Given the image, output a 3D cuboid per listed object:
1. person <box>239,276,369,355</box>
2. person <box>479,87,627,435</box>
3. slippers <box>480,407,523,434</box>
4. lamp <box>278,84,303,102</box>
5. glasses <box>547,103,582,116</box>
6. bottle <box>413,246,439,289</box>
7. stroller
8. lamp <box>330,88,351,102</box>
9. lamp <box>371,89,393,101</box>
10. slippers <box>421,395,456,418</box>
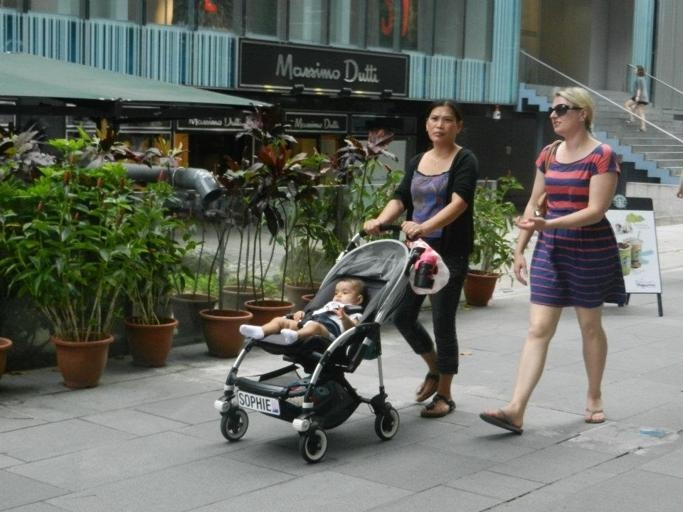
[{"bbox_3d":[-0.194,0.375,4.817,0.515,0.409,0.951,1,-2,40],"label":"person"},{"bbox_3d":[1.637,-0.015,5.172,0.810,2.541,1.120,6,10,30],"label":"person"},{"bbox_3d":[1.152,1.164,4.940,0.380,0.106,0.132,21,-7,-23],"label":"slippers"},{"bbox_3d":[-1.446,-4.762,20.452,0.776,0.553,0.991,0,7,-5],"label":"lamp"},{"bbox_3d":[1.636,-1.074,5.118,0.197,0.084,0.067,6,9,33],"label":"glasses"},{"bbox_3d":[0.590,0.084,4.887,0.164,0.261,0.203,17,-6,-6],"label":"bottle"},{"bbox_3d":[-0.121,0.548,4.822,1.329,1.503,0.693,-6,11,-41],"label":"stroller"},{"bbox_3d":[0.032,-4.958,21.428,0.430,0.137,0.379,0,-11,-28],"label":"lamp"},{"bbox_3d":[1.388,-5.199,22.544,0.359,0.152,0.462,0,-3,-23],"label":"lamp"},{"bbox_3d":[0.748,1.159,5.425,0.137,0.105,0.263,-2,-4,41],"label":"slippers"}]
